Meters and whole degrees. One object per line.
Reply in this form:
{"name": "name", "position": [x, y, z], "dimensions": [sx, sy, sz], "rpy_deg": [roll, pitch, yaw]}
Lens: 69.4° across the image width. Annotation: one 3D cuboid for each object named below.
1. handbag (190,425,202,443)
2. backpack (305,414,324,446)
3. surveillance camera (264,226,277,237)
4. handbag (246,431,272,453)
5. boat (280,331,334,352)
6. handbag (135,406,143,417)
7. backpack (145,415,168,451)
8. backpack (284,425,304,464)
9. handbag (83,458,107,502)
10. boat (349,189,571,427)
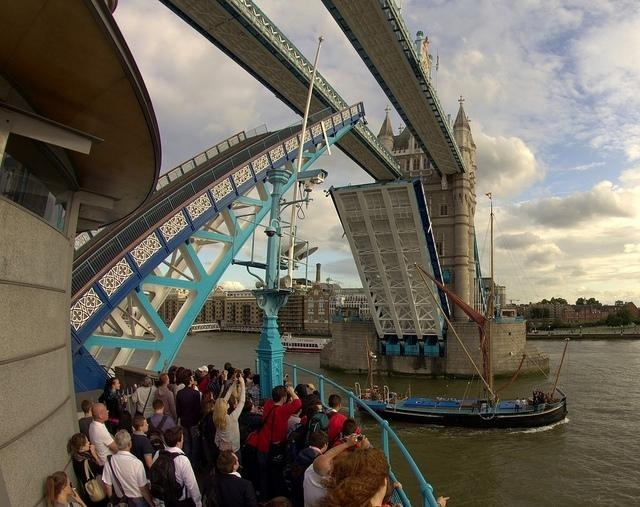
{"name": "handbag", "position": [-2.068, 2.991, 7.567], "dimensions": [0.230, 0.320, 0.075], "rpy_deg": [0, -9, -2]}
{"name": "backpack", "position": [-0.048, 2.142, 5.584], "dimensions": [0.232, 0.336, 0.391], "rpy_deg": [-1, -9, 2]}
{"name": "surveillance camera", "position": [-1.211, -0.522, 11.164], "dimensions": [0.165, 0.224, 0.490], "rpy_deg": [-4, -10, 21]}
{"name": "handbag", "position": [-0.840, 2.574, 6.291], "dimensions": [0.397, 0.277, 0.081], "rpy_deg": [-9, -12, 40]}
{"name": "boat", "position": [-2.474, 13.987, 70.813], "dimensions": [5.817, 2.231, 14.657], "rpy_deg": [0, -9, -6]}
{"name": "handbag", "position": [-3.110, 2.767, 7.987], "dimensions": [0.124, 0.074, 0.442], "rpy_deg": [3, -10, -22]}
{"name": "backpack", "position": [-2.304, 2.533, 6.561], "dimensions": [0.279, 0.444, 0.417], "rpy_deg": [4, 21, 1]}
{"name": "backpack", "position": [-0.321, 2.444, 5.847], "dimensions": [0.219, 0.368, 0.092], "rpy_deg": [21, -23, -11]}
{"name": "handbag", "position": [-2.780, 2.842, 5.705], "dimensions": [0.189, 0.437, 0.548], "rpy_deg": [6, -11, -36]}
{"name": "boat", "position": [7.863, 5.679, 26.310], "dimensions": [10.117, 8.757, 2.913], "rpy_deg": [-2, -6, 23]}
